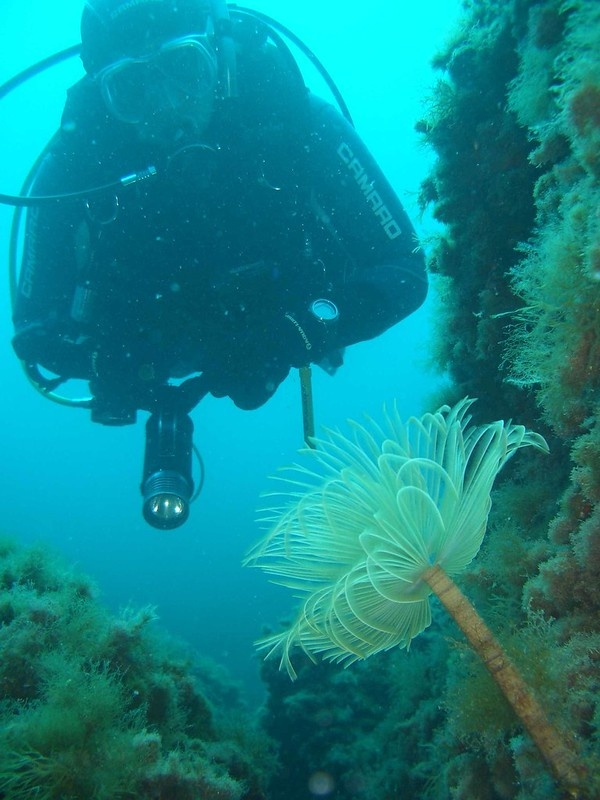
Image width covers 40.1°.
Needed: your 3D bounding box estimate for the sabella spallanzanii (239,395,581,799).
[{"bbox_3d":[0.476,1.119,5.053,1.949,1.630,2.053,-3,-71,-4],"label":"sabella spallanzanii"}]
